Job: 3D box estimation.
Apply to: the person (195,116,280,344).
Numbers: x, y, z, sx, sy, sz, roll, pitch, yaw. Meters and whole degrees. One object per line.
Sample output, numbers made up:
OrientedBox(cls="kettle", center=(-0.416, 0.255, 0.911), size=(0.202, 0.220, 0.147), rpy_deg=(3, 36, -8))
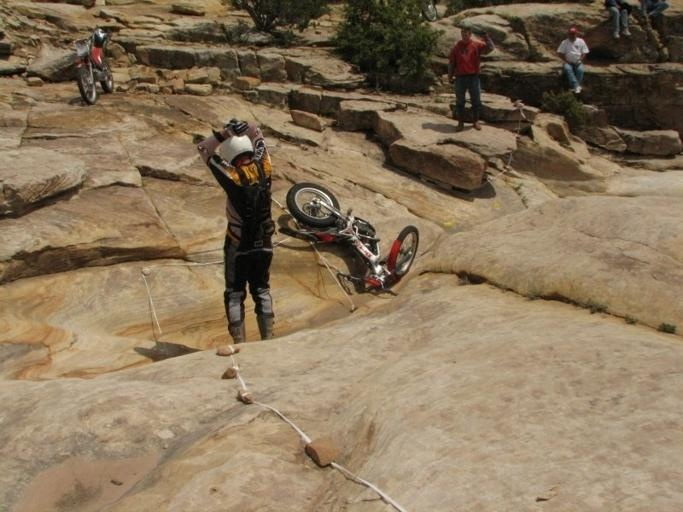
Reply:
OrientedBox(cls="person", center=(-1.317, -0.269, 9.015), size=(0.859, 2.935, 0.962), rpy_deg=(-3, 24, -12))

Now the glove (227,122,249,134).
OrientedBox(cls="glove", center=(-1.347, -1.646, 8.803), size=(0.249, 0.154, 0.355), rpy_deg=(2, 17, 3))

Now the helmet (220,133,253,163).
OrientedBox(cls="helmet", center=(-1.333, -1.337, 8.603), size=(0.428, 0.328, 0.217), rpy_deg=(-1, 22, -8))

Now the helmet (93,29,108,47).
OrientedBox(cls="helmet", center=(-4.914, -4.482, 14.046), size=(0.336, 0.219, 0.468), rpy_deg=(11, 33, -7))

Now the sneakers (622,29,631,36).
OrientedBox(cls="sneakers", center=(7.394, -5.842, 18.009), size=(0.097, 0.201, 0.172), rpy_deg=(-15, -11, 23))

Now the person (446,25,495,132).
OrientedBox(cls="person", center=(2.603, -3.677, 14.397), size=(0.823, 2.053, 1.569), rpy_deg=(5, 21, 7))

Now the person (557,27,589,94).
OrientedBox(cls="person", center=(5.694, -4.872, 17.209), size=(0.732, 1.637, 1.113), rpy_deg=(8, 22, 14))
